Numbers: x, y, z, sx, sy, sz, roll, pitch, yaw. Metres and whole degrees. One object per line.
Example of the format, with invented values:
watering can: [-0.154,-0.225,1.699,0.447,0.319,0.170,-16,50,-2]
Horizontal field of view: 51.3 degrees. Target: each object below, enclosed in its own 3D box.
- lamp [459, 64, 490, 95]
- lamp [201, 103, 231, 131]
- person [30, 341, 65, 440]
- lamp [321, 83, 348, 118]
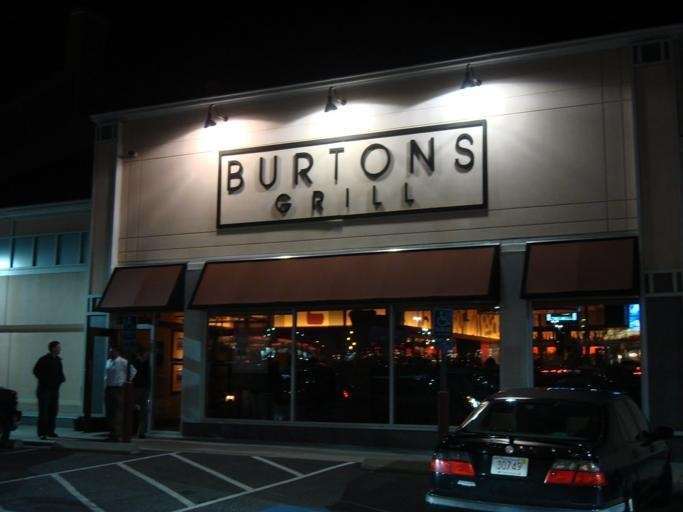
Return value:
lamp: [3.097,-4.303,17.105,0.436,0.824,0.840,6,19,38]
lamp: [-3.559,-3.837,19.529,0.785,0.797,0.621,-3,-12,17]
person: [-7.581,3.451,18.465,0.694,2.481,0.645,4,-12,-18]
lamp: [-0.207,-3.994,18.434,0.425,0.584,0.781,-4,0,35]
